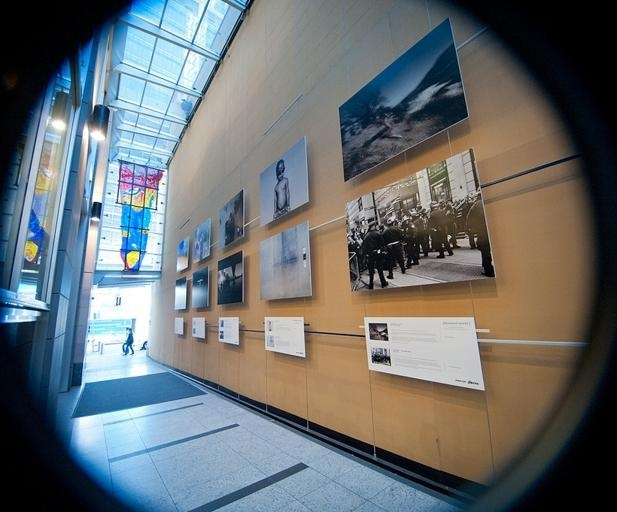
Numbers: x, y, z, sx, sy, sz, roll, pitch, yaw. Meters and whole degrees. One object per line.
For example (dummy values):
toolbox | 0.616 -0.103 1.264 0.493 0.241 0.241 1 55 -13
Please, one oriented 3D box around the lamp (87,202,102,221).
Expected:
lamp | -4.834 -1.070 8.248 0.220 0.414 0.408 4 -9 -35
